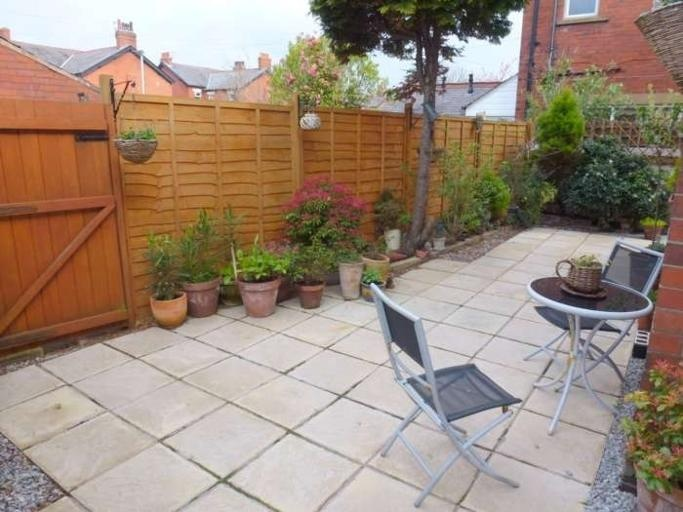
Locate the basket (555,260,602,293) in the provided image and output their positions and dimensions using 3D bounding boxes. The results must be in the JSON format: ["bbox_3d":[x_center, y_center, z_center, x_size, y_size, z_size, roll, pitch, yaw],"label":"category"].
[{"bbox_3d":[1.990,0.172,3.815,0.379,0.242,0.262,9,11,38],"label":"basket"}]

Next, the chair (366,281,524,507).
[{"bbox_3d":[0.661,0.849,3.060,0.743,1.302,0.809,-7,18,-18],"label":"chair"}]

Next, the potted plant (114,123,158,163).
[{"bbox_3d":[-1.975,-1.143,4.602,0.420,0.396,0.421,-1,8,-7],"label":"potted plant"}]

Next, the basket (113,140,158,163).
[{"bbox_3d":[-1.993,-1.028,4.431,0.293,0.179,0.276,-2,12,-16],"label":"basket"}]

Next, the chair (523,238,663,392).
[{"bbox_3d":[2.315,0.546,4.293,1.013,1.204,0.696,-7,14,-2],"label":"chair"}]

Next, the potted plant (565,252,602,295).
[{"bbox_3d":[1.975,0.172,3.780,0.311,0.275,0.227,8,16,20],"label":"potted plant"}]

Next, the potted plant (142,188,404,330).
[{"bbox_3d":[-0.740,-0.129,5.554,2.739,1.033,1.268,-14,20,-32],"label":"potted plant"}]
